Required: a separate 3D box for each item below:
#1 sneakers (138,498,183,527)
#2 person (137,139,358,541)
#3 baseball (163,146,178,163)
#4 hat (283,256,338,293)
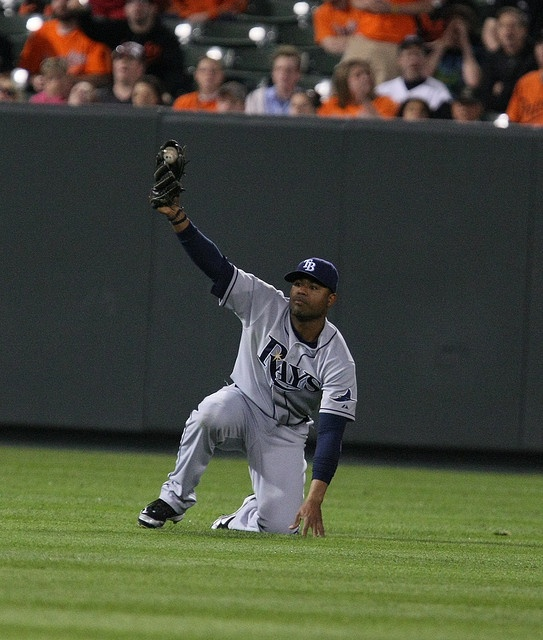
[{"bbox_3d":[-0.441,0.774,4.966,0.176,0.123,0.131,2,4,-24],"label":"sneakers"},{"bbox_3d":[-0.070,0.099,4.991,0.841,1.585,0.652,4,4,6],"label":"person"},{"bbox_3d":[-0.391,-0.653,4.840,0.052,0.059,0.061,11,5,4],"label":"baseball"},{"bbox_3d":[0.180,-0.161,4.967,0.192,0.105,0.132,30,-1,-36],"label":"hat"}]
